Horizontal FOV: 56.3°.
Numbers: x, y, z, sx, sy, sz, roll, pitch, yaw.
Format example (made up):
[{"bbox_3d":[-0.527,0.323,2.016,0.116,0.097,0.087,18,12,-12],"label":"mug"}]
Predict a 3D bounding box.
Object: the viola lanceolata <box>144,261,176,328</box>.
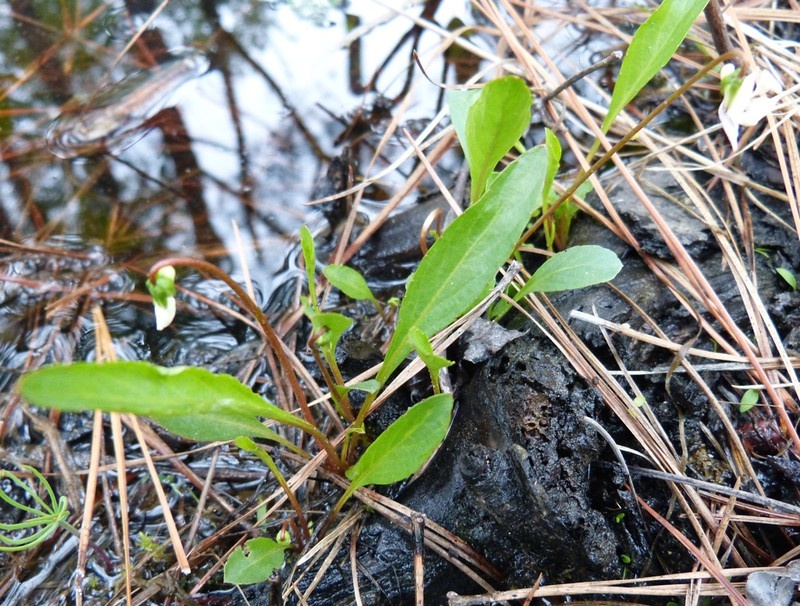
[{"bbox_3d":[-0.646,-0.003,2.026,0.083,0.187,0.069,-25,48,-29],"label":"viola lanceolata"}]
